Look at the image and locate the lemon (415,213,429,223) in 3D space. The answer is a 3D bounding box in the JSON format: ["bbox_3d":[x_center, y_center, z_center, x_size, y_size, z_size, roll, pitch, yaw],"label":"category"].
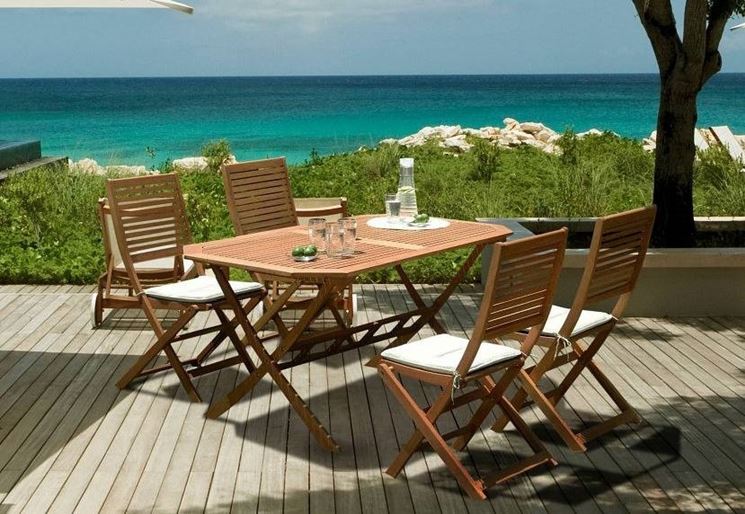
[{"bbox_3d":[0.375,-0.307,4.459,0.083,0.039,0.082,7,16,34],"label":"lemon"}]

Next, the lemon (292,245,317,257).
[{"bbox_3d":[-0.433,-0.040,3.622,0.125,0.056,0.072,-8,17,21],"label":"lemon"}]

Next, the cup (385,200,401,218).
[{"bbox_3d":[0.160,-0.384,4.558,0.132,0.130,0.130,0,4,0],"label":"cup"}]
